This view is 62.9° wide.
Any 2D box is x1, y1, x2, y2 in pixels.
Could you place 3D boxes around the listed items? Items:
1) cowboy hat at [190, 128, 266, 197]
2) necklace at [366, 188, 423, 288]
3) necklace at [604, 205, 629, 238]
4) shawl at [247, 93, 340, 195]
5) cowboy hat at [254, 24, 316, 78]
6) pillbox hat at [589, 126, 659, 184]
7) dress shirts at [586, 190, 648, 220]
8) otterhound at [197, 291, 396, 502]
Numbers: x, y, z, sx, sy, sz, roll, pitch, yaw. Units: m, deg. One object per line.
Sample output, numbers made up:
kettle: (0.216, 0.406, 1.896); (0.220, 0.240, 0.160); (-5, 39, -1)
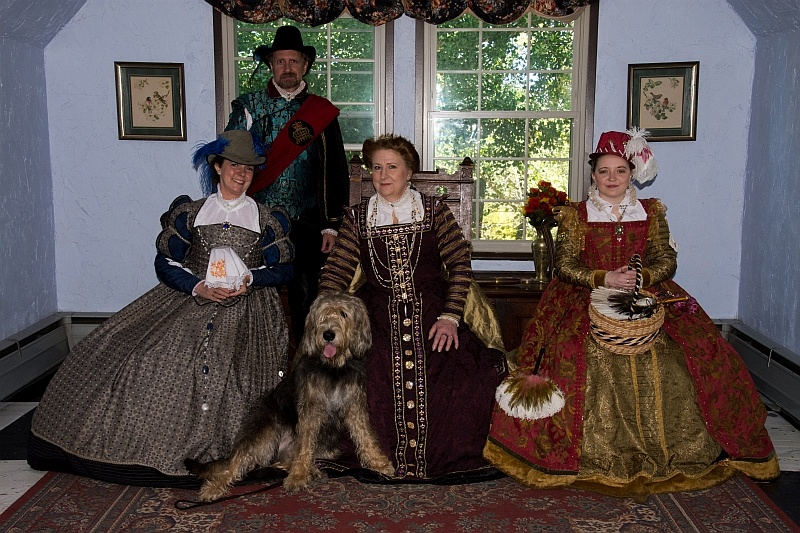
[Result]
cowboy hat: (-1.059, -0.726, 4.203); (0.504, 0.321, 0.590); (-1, 1, -14)
necklace: (-0.044, -0.187, 4.067); (0.374, 0.542, 0.195); (1, -1, 7)
necklace: (1.333, -0.274, 4.011); (0.150, 0.199, 0.103); (-1, -10, 4)
shawl: (-0.748, -0.926, 4.739); (0.318, 1.081, 0.055); (36, -17, -2)
cowboy hat: (-0.836, -1.647, 4.835); (0.454, 0.240, 0.586); (1, 5, 2)
pillbox hat: (1.380, -0.696, 4.060); (0.324, 0.341, 0.293); (26, 25, -4)
dress shirts: (1.329, -0.351, 4.078); (0.273, 0.216, 0.092); (0, -31, 5)
otterhound: (-0.575, 0.692, 3.844); (1.103, 1.071, 0.802); (1, 5, 2)
